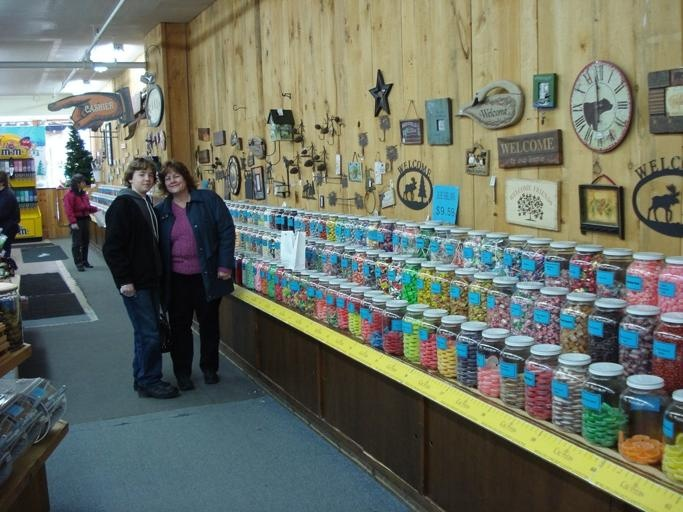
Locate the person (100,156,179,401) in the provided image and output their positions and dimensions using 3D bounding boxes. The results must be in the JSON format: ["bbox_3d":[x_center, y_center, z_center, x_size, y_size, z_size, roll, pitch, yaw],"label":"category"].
[{"bbox_3d":[-1.667,0.201,4.488,0.475,1.974,0.320,-5,8,-25],"label":"person"}]

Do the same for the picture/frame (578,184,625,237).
[{"bbox_3d":[1.275,-0.224,2.671,0.024,0.234,0.235,-2,5,-21],"label":"picture/frame"}]

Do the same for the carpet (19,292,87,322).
[{"bbox_3d":[-4.171,0.695,7.880,0.750,0.076,1.673,-8,11,-30],"label":"carpet"}]

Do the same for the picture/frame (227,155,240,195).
[{"bbox_3d":[-1.413,-1.062,7.154,0.042,0.421,0.416,-3,20,-24],"label":"picture/frame"}]

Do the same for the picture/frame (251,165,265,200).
[{"bbox_3d":[-0.975,-0.864,6.426,0.044,0.455,0.375,-2,4,-26],"label":"picture/frame"}]

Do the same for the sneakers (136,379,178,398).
[{"bbox_3d":[-1.568,1.098,4.637,0.331,0.171,0.142,0,2,6],"label":"sneakers"}]

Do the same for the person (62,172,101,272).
[{"bbox_3d":[-5.197,-0.678,10.909,0.537,1.874,0.679,-5,8,-25],"label":"person"}]

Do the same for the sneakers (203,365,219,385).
[{"bbox_3d":[-1.166,1.052,4.871,0.076,0.100,0.223,-1,10,-17],"label":"sneakers"}]

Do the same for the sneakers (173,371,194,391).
[{"bbox_3d":[-1.363,1.087,4.751,0.086,0.096,0.211,-2,2,-34],"label":"sneakers"}]

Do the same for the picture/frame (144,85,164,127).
[{"bbox_3d":[-2.980,-2.401,8.711,0.069,0.717,0.695,-5,10,-26],"label":"picture/frame"}]

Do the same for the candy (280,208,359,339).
[{"bbox_3d":[-0.154,0.061,4.099,0.803,0.823,0.496,7,9,40],"label":"candy"}]

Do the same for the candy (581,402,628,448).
[{"bbox_3d":[0.945,0.614,2.007,0.131,0.144,0.122,-1,4,-8],"label":"candy"}]

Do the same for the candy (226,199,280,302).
[{"bbox_3d":[-0.812,-0.019,5.023,0.491,0.677,0.911,0,7,-35],"label":"candy"}]

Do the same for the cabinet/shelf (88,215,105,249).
[{"bbox_3d":[-5.564,-0.558,12.426,0.257,0.765,0.762,-4,3,-32],"label":"cabinet/shelf"}]

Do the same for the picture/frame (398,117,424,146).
[{"bbox_3d":[0.492,-0.874,3.841,0.030,0.187,0.211,-4,7,-31],"label":"picture/frame"}]

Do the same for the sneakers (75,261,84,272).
[{"bbox_3d":[-5.196,0.214,10.837,0.094,0.115,0.275,-23,18,-29],"label":"sneakers"}]
